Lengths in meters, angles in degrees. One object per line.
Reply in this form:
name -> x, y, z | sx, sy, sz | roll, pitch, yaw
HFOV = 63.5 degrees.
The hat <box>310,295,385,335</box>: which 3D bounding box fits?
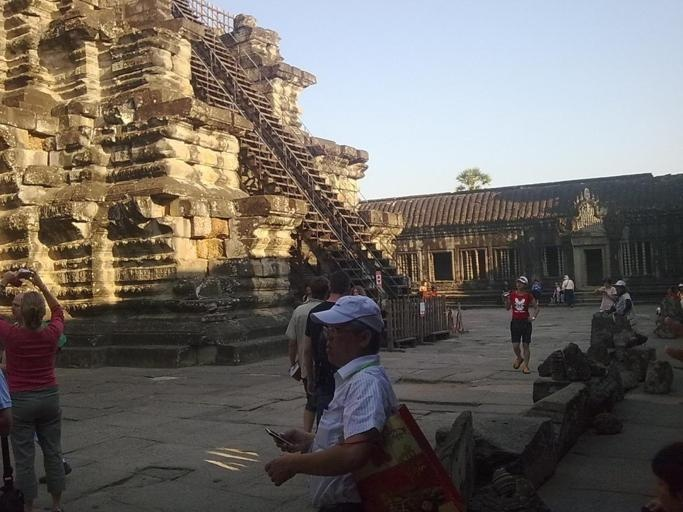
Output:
hat -> 0.049, 0.365, 3.439 | 0.375, 0.166, 0.226 | 4, -7, -8
